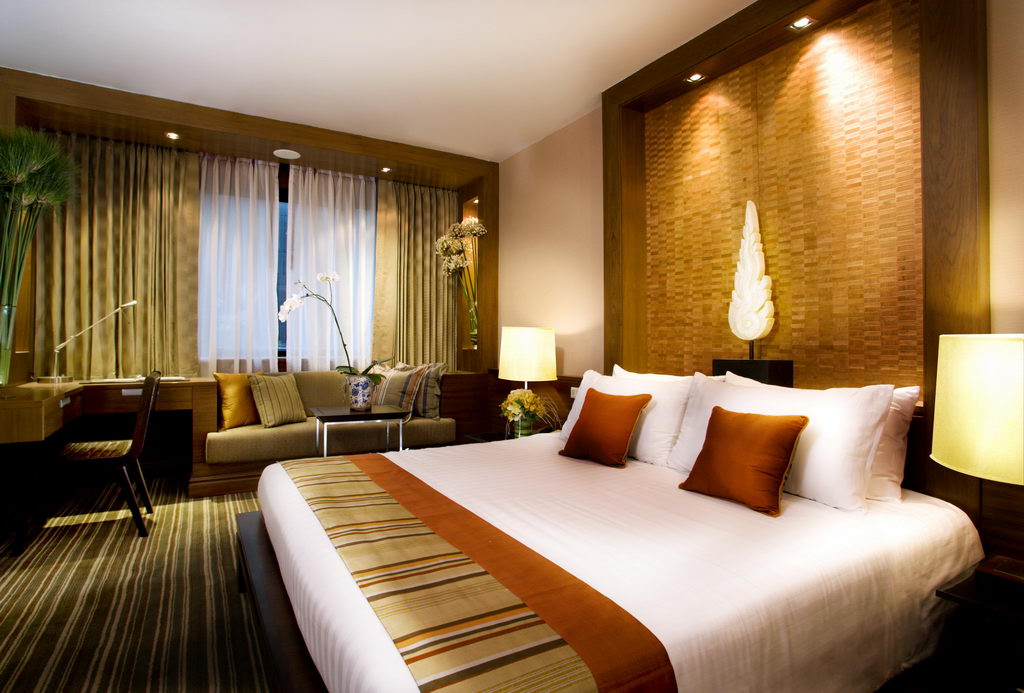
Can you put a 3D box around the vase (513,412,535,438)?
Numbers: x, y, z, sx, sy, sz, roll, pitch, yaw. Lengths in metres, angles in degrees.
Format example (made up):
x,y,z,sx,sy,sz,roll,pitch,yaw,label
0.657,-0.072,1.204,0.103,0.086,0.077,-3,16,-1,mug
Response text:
x,y,z,sx,sy,sz,roll,pitch,yaw,label
0.078,0.598,4.916,0.176,0.212,0.182,0,7,-3,vase

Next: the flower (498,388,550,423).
x,y,z,sx,sy,sz,roll,pitch,yaw,label
0.079,0.431,4.939,0.273,0.284,0.288,1,1,16,flower

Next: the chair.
x,y,z,sx,sy,sz,roll,pitch,yaw,label
-2.833,0.703,4.504,0.588,1.085,1.099,-3,4,-31,chair

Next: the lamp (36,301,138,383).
x,y,z,sx,sy,sz,roll,pitch,yaw,label
-3.392,-0.075,5.148,0.634,0.602,0.314,-3,5,-37,lamp

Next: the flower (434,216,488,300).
x,y,z,sx,sy,sz,roll,pitch,yaw,label
-0.491,-0.884,6.159,0.501,0.847,0.962,-1,4,-7,flower

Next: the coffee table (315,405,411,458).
x,y,z,sx,sy,sz,roll,pitch,yaw,label
-1.182,0.555,4.940,0.553,0.555,0.552,1,-6,-27,coffee table

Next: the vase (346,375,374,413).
x,y,z,sx,sy,sz,roll,pitch,yaw,label
-1.176,0.350,4.872,0.230,0.290,0.262,-1,4,-18,vase

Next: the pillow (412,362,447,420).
x,y,z,sx,sy,sz,roll,pitch,yaw,label
-0.753,0.432,5.744,0.195,0.529,0.468,5,-1,-16,pillow

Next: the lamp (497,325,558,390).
x,y,z,sx,sy,sz,roll,pitch,yaw,label
0.132,0.082,5.189,0.415,0.497,0.440,3,8,17,lamp
